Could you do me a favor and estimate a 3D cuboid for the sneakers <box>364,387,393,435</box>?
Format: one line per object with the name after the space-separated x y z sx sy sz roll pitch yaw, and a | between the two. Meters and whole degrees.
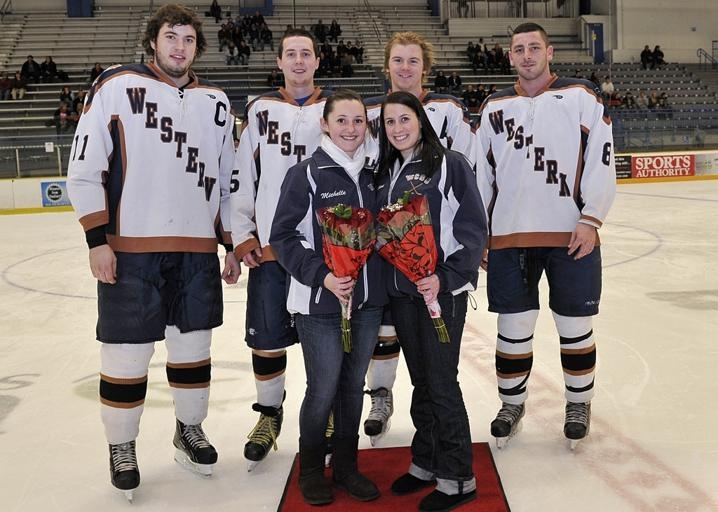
0.160 1.012 4.267 0.112 0.220 0.354 -12 8 13 | sneakers

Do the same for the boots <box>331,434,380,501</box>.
-0.006 1.176 3.664 0.167 0.341 0.398 -3 5 -39 | boots

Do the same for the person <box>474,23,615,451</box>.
1.120 -0.168 4.073 0.860 2.489 0.724 4 15 22 | person

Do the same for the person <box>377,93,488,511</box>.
0.400 0.232 3.516 0.597 2.161 0.645 -1 14 3 | person

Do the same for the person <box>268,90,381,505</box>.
-0.158 0.225 3.567 0.616 2.174 0.609 -3 14 -9 | person

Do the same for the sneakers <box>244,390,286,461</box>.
-0.585 1.069 4.078 0.168 0.254 0.529 5 11 9 | sneakers

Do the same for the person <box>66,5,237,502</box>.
-1.151 -0.073 3.811 0.943 2.686 0.735 -8 15 -26 | person

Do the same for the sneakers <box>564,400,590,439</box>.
1.361 1.026 4.052 0.145 0.164 0.252 3 16 18 | sneakers

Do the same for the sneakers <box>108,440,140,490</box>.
-1.339 1.201 3.709 0.113 0.150 0.356 -3 23 -15 | sneakers
